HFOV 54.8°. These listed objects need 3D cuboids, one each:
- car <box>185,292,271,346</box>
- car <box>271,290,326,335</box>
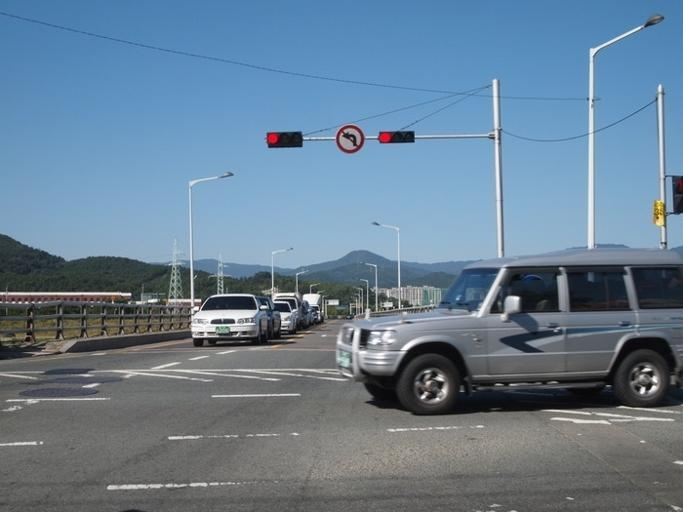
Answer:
[{"bbox_3d":[-4.094,2.344,24.477,2.254,1.935,2.847,-1,-5,2],"label":"car"},{"bbox_3d":[-3.370,4.214,50.762,2.845,3.025,9.163,-2,-5,6],"label":"car"}]
